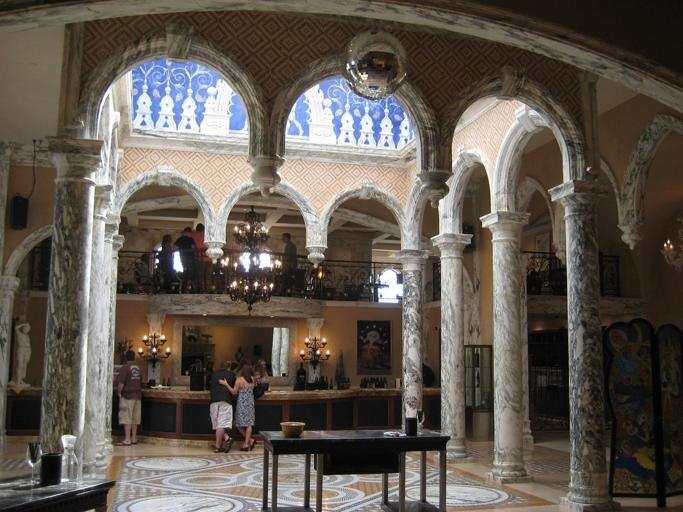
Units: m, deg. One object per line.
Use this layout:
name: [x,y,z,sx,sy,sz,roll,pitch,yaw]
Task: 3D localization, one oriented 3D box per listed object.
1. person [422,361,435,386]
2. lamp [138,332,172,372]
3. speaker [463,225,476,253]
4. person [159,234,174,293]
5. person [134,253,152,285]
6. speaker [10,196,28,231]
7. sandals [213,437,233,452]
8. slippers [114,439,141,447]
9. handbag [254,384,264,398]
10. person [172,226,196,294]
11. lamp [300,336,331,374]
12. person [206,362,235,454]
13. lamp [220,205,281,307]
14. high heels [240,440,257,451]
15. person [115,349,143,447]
person: [2.563,3.508,20.485,0.286,0.646,0.910,-2,-11,12]
lamp: [-5.268,2.660,19.631,0.889,0.984,0.529,4,-11,-16]
speaker: [3.109,-0.461,17.032,0.287,0.780,0.591,-1,-11,10]
person: [-4.984,0.211,19.706,0.383,1.570,0.805,5,-12,-22]
person: [-5.843,0.414,20.577,0.463,1.098,1.284,4,-12,-16]
speaker: [-6.306,-0.859,13.668,0.273,0.606,0.369,4,-11,-17]
sandals: [-2.331,3.805,14.018,0.279,0.260,0.484,-10,-15,43]
slippers: [-4.536,3.963,14.703,0.398,0.150,0.162,3,-8,-5]
handbag: [-1.744,2.845,14.672,0.193,0.259,0.243,2,-11,1]
person: [-4.386,0.069,19.583,0.563,1.824,1.240,3,-11,-11]
lamp: [-0.804,2.899,20.562,0.855,0.987,0.514,1,5,-14]
person: [-2.448,3.068,14.252,0.498,1.778,0.638,3,-11,-11]
lamp: [-2.106,-0.051,16.374,1.264,2.170,1.278,-1,2,-25]
high heels: [-1.908,3.858,14.165,0.133,0.173,0.392,2,-3,-37]
person: [-4.494,3.038,14.734,0.520,1.882,0.656,4,-11,-16]
